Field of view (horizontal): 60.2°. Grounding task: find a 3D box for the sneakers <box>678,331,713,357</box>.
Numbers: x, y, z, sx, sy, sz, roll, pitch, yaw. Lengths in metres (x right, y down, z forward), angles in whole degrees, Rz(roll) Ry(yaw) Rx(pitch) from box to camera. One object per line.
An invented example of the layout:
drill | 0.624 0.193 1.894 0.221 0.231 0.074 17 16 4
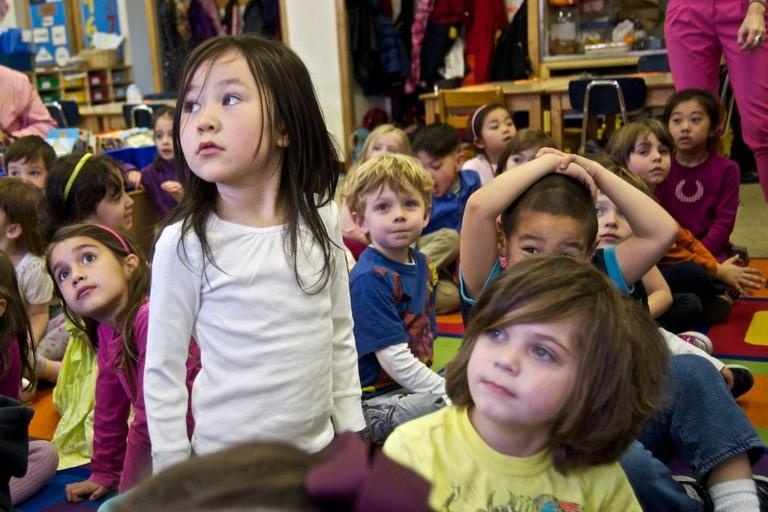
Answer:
sneakers | 1.092 0.311 2.335 0.136 0.054 0.050 32 -4 24

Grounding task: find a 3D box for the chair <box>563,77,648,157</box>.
chair | 1.498 -0.992 4.516 0.443 0.541 0.408 -6 33 10

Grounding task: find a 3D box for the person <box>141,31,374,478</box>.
person | -0.324 0.279 1.782 0.578 1.618 0.431 -4 5 -9

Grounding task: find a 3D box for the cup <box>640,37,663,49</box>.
cup | 2.098 -1.671 5.234 0.081 0.090 0.231 -6 12 -21

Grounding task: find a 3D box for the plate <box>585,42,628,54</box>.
plate | 1.823 -1.700 5.436 0.346 0.112 0.147 2 12 17

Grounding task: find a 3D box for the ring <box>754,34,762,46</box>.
ring | 1.743 -1.012 3.100 0.010 0.010 0.040 -12 -20 -22

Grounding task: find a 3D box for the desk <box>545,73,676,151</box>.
desk | 1.511 -1.002 4.571 0.632 0.609 0.633 -1 9 9

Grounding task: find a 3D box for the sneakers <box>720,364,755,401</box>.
sneakers | 1.232 0.436 2.310 0.074 0.070 0.193 -11 -23 27
